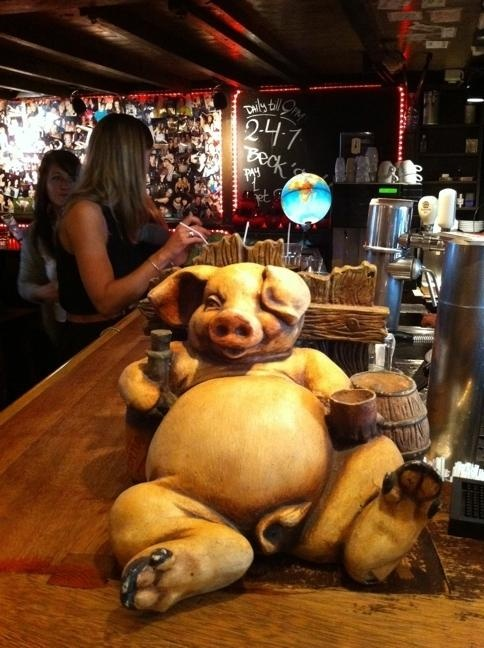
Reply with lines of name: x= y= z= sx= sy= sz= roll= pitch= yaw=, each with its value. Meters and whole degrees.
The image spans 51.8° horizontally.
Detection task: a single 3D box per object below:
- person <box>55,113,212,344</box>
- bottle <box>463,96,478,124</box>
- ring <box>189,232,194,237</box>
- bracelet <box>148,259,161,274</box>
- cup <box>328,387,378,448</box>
person: x=-0.470 y=-0.369 z=2.071 sx=0.584 sy=0.974 sz=0.447 roll=-8 pitch=15 yaw=-20
bottle: x=2.738 y=-2.555 z=5.994 sx=0.137 sy=0.280 sz=0.247 roll=3 pitch=14 yaw=20
ring: x=-0.200 y=-0.359 z=1.993 sx=0.016 sy=0.015 sz=0.004 roll=-7 pitch=8 yaw=-36
bracelet: x=-0.347 y=-0.234 z=2.003 sx=0.048 sy=0.048 sz=0.033 roll=0 pitch=14 yaw=9
cup: x=0.154 y=0.131 z=0.742 sx=0.083 sy=0.079 sz=0.078 roll=-5 pitch=11 yaw=1
